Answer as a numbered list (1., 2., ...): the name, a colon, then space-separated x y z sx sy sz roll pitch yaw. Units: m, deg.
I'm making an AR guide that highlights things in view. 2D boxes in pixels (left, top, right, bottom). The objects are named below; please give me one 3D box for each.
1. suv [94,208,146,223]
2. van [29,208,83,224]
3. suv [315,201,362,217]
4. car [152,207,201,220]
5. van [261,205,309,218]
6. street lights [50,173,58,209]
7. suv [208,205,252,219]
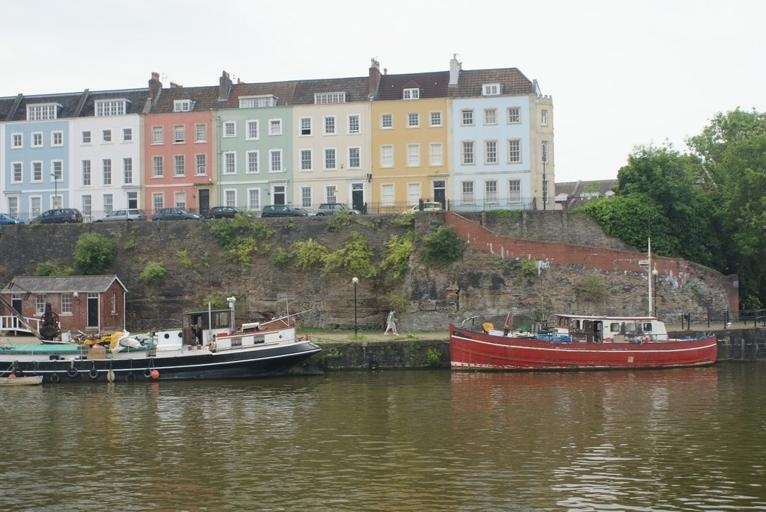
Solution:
1. suv: -18.678 -2.852 124.111 2.634 0.897 1.382 1 0 6
2. van: -23.420 -2.786 124.059 2.712 1.138 1.524 2 0 4
3. suv: -3.357 -3.264 121.592 2.352 1.049 1.305 -2 2 12
4. car: -14.784 -2.831 122.024 2.709 0.913 1.285 -2 1 2
5. van: -6.950 -3.076 121.479 2.797 0.941 1.231 -2 3 9
6. street lights: -24.627 -4.986 129.566 0.574 2.682 0.599 0 -4 -32
7. suv: -11.031 -3.008 121.835 2.663 0.871 1.216 -2 1 6
